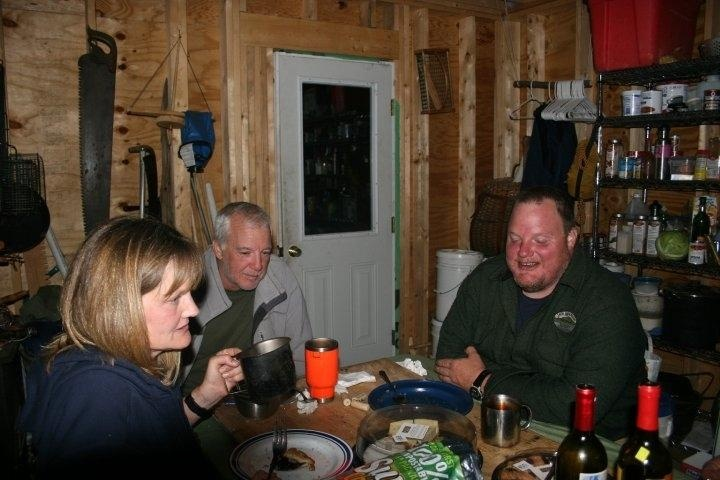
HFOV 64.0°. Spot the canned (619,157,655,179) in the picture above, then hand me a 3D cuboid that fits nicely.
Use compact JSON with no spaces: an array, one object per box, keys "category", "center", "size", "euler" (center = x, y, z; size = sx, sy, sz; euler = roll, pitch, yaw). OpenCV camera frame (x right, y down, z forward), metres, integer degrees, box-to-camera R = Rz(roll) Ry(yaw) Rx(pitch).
[{"category":"canned","center":[1.978,-0.522,4.153],"size":[0.179,0.121,0.173],"euler":[1,-2,6]}]

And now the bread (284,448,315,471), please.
[{"category":"bread","center":[-0.214,0.796,2.087],"size":[0.093,0.024,0.057],"euler":[27,35,26]}]

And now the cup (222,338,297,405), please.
[{"category":"cup","center":[-0.397,0.492,2.356],"size":[0.222,0.251,0.273],"euler":[5,7,44]}]

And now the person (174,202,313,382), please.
[{"category":"person","center":[-0.638,0.255,3.184],"size":[0.672,0.938,0.615],"euler":[3,11,-13]}]

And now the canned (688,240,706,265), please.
[{"category":"canned","center":[2.268,0.077,3.879],"size":[0.108,0.163,0.139],"euler":[3,8,30]}]

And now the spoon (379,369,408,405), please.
[{"category":"spoon","center":[0.136,0.621,2.439],"size":[0.053,0.031,0.215],"euler":[-5,28,-24]}]

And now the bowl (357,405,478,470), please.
[{"category":"bowl","center":[0.159,0.662,2.110],"size":[0.410,0.149,0.451],"euler":[2,5,-14]}]

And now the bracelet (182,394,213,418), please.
[{"category":"bracelet","center":[-0.657,0.685,2.343],"size":[0.107,0.041,0.100],"euler":[26,21,-40]}]

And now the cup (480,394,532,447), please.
[{"category":"cup","center":[0.538,0.668,2.217],"size":[0.210,0.177,0.181],"euler":[0,5,-2]}]

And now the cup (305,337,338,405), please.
[{"category":"cup","center":[-0.160,0.540,2.484],"size":[0.164,0.265,0.138],"euler":[-5,17,-36]}]

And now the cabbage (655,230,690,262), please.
[{"category":"cabbage","center":[2.173,0.039,4.021],"size":[0.213,0.201,0.209],"euler":[16,1,22]}]

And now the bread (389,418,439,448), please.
[{"category":"bread","center":[0.189,0.679,2.028],"size":[0.176,0.039,0.143],"euler":[-1,7,5]}]

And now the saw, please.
[{"category":"saw","center":[-1.798,-0.789,3.937],"size":[0.276,1.439,0.175],"euler":[2,13,-14]}]

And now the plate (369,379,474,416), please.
[{"category":"plate","center":[0.245,0.655,2.370],"size":[0.323,0.082,0.376],"euler":[-2,9,-34]}]
